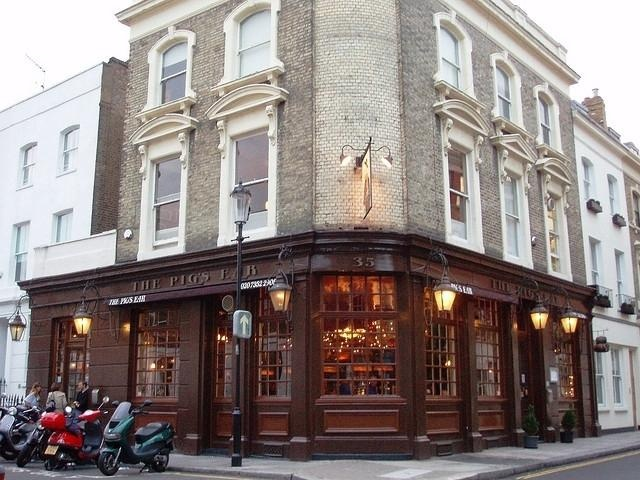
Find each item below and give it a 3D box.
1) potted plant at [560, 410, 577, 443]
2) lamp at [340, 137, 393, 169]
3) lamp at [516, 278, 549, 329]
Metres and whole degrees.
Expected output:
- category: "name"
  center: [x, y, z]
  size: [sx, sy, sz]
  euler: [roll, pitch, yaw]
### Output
- category: "potted plant"
  center: [9.327, 7.008, 23.271]
  size: [0.641, 1.151, 1.675]
  euler: [-8, -19, 20]
- category: "lamp"
  center: [1.385, -2.534, 18.408]
  size: [1.524, 0.886, 0.422]
  euler: [3, 7, 1]
- category: "lamp"
  center: [7.809, 2.301, 22.446]
  size: [0.716, 1.948, 1.822]
  euler: [-7, -18, 17]
